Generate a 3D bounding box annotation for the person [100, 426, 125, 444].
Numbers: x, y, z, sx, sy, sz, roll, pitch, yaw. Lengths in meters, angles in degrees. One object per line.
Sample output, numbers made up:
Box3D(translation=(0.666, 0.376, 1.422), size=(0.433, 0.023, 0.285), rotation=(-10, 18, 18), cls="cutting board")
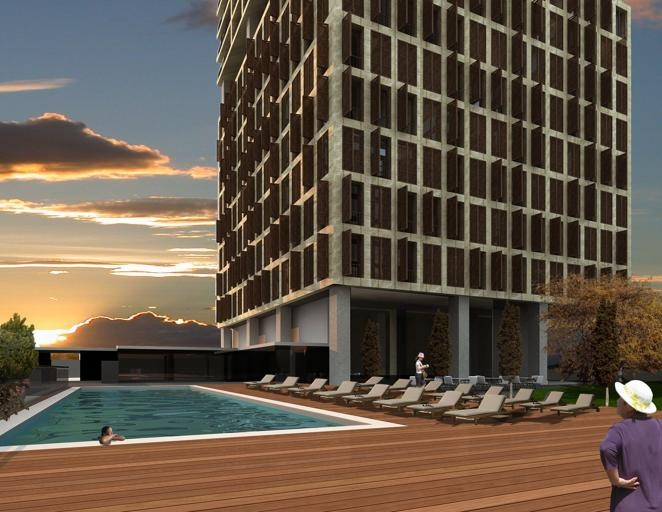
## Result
Box3D(translation=(-5.642, 4.531, 16.930), size=(0.466, 0.451, 0.857), rotation=(-4, -6, 17), cls="person")
